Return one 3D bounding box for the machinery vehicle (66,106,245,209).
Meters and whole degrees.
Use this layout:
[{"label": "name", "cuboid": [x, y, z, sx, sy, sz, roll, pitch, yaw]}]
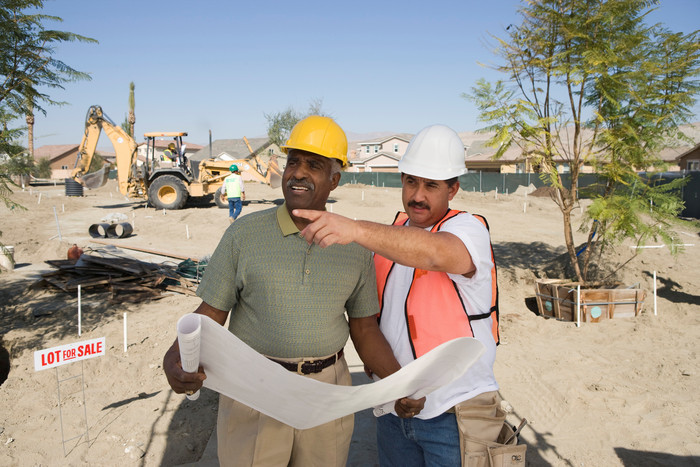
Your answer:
[{"label": "machinery vehicle", "cuboid": [-9.039, -3.542, 29.330, 7.349, 4.407, 2.377, -2, 17, -27]}]
